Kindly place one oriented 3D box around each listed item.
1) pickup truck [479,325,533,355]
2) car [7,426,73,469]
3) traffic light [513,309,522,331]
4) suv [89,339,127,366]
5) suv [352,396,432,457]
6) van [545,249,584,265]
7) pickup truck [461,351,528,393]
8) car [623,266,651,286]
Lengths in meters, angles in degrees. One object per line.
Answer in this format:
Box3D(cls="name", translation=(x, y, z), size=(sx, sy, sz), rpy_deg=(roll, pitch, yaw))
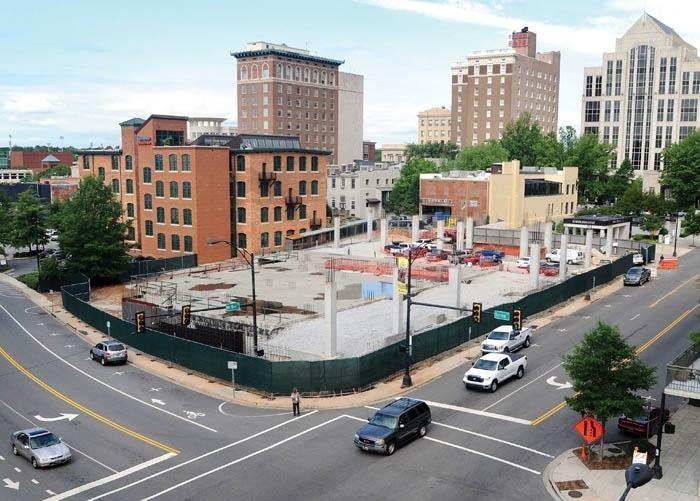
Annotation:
Box3D(cls="pickup truck", translation=(13.286, 7.718, 69.292), size=(2.312, 2.100, 5.741), rpy_deg=(4, 8, 43))
Box3D(cls="car", translation=(-20.728, 13.241, 54.228), size=(4.413, 1.382, 2.026), rpy_deg=(3, 5, 45))
Box3D(cls="traffic light", translation=(12.893, 5.310, 62.517), size=(0.621, 1.504, 0.388), rpy_deg=(1, 8, 27))
Box3D(cls="suv", translation=(-21.118, 8.897, 70.476), size=(1.759, 1.254, 3.089), rpy_deg=(-4, 13, -41))
Box3D(cls="suv", translation=(3.066, 12.151, 56.091), size=(2.919, 2.301, 5.984), rpy_deg=(8, 16, 41))
Box3D(cls="van", translation=(27.434, 1.083, 103.400), size=(4.035, 1.763, 2.398), rpy_deg=(3, 6, 17))
Box3D(cls="pickup truck", translation=(11.488, 9.453, 64.423), size=(2.848, 2.130, 6.589), rpy_deg=(4, 10, 39))
Box3D(cls="car", translation=(32.731, 2.977, 92.244), size=(2.025, 1.692, 4.050), rpy_deg=(2, 7, 33))
